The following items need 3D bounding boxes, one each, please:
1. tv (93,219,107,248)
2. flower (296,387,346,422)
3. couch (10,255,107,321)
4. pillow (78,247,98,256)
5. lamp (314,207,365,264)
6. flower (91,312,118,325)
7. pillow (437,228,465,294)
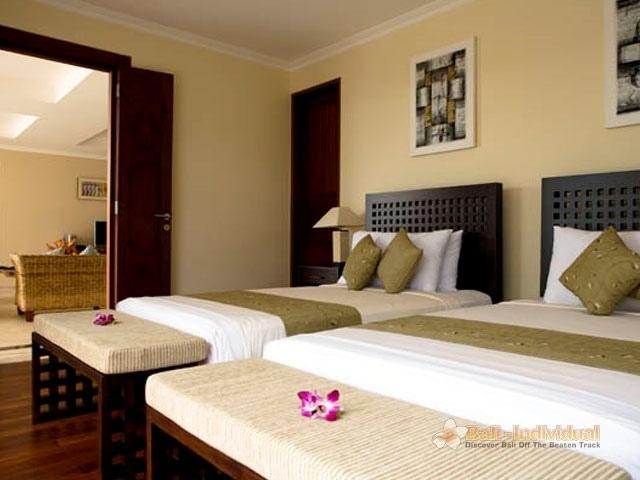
[{"bbox_3d":[-4.665,-0.098,9.581,0.243,0.654,0.685,-4,5,-27],"label":"tv"},{"bbox_3d":[0.001,0.516,1.433,0.097,0.045,0.099,4,9,22],"label":"flower"},{"bbox_3d":[-3.758,0.742,6.588,0.739,0.973,1.313,-21,-15,34],"label":"couch"},{"bbox_3d":[-3.450,0.163,6.749,0.189,0.120,0.197,2,2,-11],"label":"pillow"},{"bbox_3d":[0.172,-0.017,4.775,0.557,0.771,0.531,2,0,-38],"label":"lamp"},{"bbox_3d":[-1.244,0.451,2.586,0.092,0.043,0.093,2,-1,36],"label":"flower"},{"bbox_3d":[1.048,0.178,3.618,0.112,0.398,0.402,9,7,5],"label":"pillow"}]
